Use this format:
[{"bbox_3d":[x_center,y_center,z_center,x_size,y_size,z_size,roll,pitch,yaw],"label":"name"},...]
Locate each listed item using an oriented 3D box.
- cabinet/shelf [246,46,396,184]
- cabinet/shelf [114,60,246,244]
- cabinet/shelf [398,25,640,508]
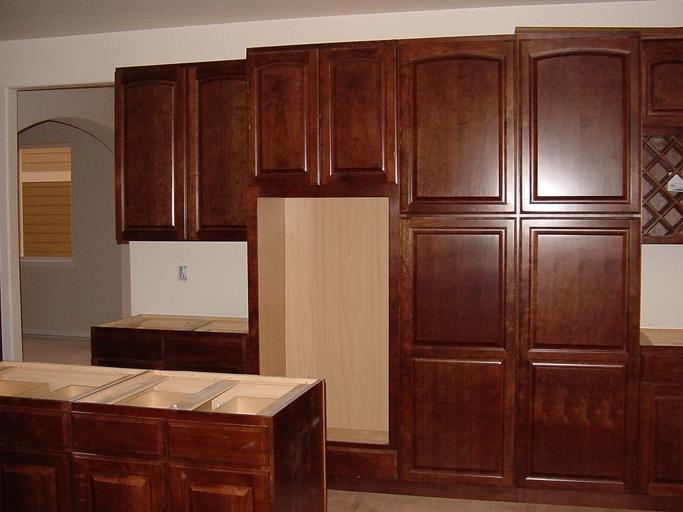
[{"bbox_3d":[-0.096,-1.011,4.672,1.185,1.032,0.413,3,9,22],"label":"cabinet/shelf"},{"bbox_3d":[-1.232,-0.832,4.917,1.411,1.651,0.580,1,3,11],"label":"cabinet/shelf"},{"bbox_3d":[1.224,0.041,4.323,1.700,3.107,0.559,2,11,5],"label":"cabinet/shelf"}]
